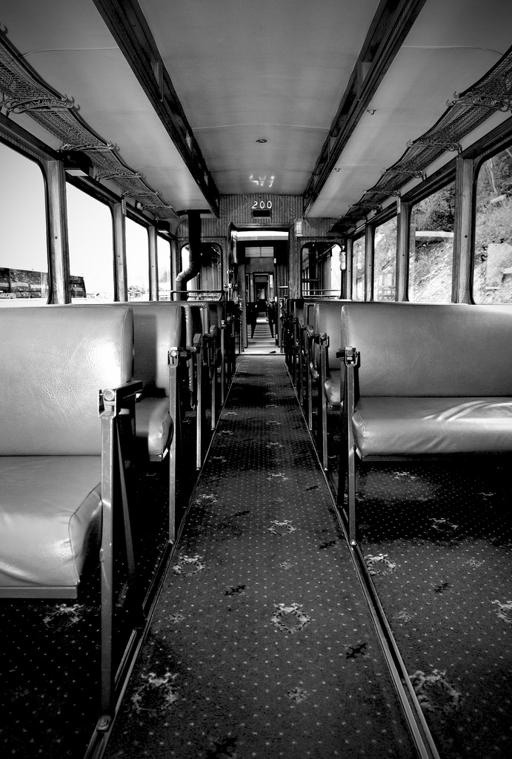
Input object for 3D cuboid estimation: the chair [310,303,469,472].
[{"bbox_3d":[0.810,-0.065,3.581,0.542,1.407,0.812,0,6,-4],"label":"chair"}]
